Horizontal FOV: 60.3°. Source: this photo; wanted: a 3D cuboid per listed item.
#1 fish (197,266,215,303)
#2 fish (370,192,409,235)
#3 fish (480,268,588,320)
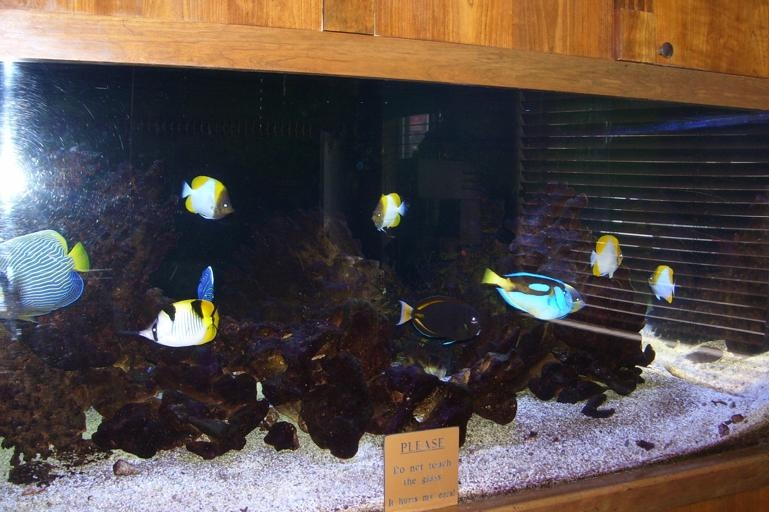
[{"bbox_3d":[-0.546,0.090,2.025,0.049,0.119,0.009,18,30,-2],"label":"fish"},{"bbox_3d":[0.025,-0.138,2.112,0.047,0.116,0.168,1,-6,-34],"label":"fish"},{"bbox_3d":[0.495,0.127,2.283,0.316,0.145,0.070,20,-10,-13],"label":"fish"}]
